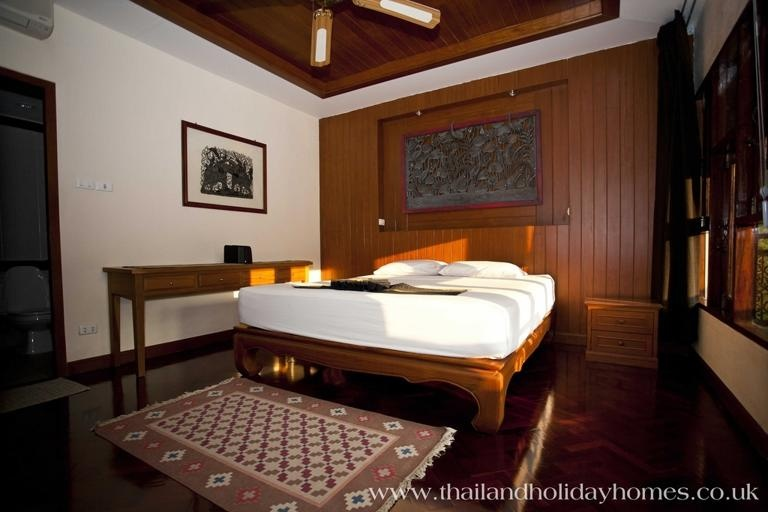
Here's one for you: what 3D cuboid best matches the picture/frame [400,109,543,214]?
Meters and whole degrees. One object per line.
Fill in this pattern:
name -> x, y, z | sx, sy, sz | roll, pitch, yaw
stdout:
picture/frame -> 1.222, -1.249, 6.133 | 1.455, 0.895, 0.072 | 0, 3, 32

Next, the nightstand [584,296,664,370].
nightstand -> 2.473, 0.743, 5.021 | 0.867, 0.869, 0.611 | -1, -2, 25

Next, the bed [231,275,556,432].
bed -> 0.362, 0.741, 5.463 | 2.945, 0.960, 3.199 | 2, 3, 31
